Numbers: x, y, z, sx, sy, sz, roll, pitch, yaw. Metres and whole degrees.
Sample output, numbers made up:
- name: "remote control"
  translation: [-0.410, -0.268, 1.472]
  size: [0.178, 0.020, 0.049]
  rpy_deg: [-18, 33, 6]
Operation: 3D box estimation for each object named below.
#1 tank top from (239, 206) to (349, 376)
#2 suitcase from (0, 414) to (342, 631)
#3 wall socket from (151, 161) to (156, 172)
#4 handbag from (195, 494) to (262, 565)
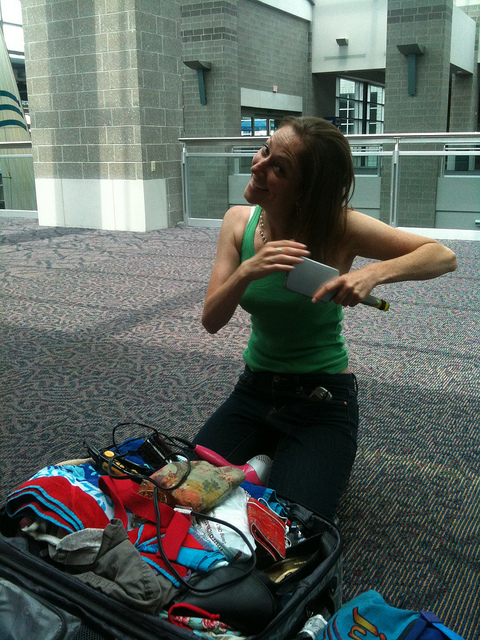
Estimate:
- name: "tank top"
  translation: [0.160, -0.056, 1.320]
  size: [0.247, 0.520, 0.301]
  rpy_deg: [20, 35, 35]
- name: "suitcase"
  translation: [-0.119, 0.355, 0.747]
  size: [0.425, 0.118, 0.323]
  rpy_deg: [23, 23, 21]
- name: "wall socket"
  translation: [-1.396, -2.456, 7.453]
  size: [0.015, 0.149, 0.102]
  rpy_deg: [7, 11, 31]
- name: "handbag"
  translation: [-0.026, 0.363, 0.802]
  size: [0.095, 0.027, 0.092]
  rpy_deg: [43, 37, 18]
